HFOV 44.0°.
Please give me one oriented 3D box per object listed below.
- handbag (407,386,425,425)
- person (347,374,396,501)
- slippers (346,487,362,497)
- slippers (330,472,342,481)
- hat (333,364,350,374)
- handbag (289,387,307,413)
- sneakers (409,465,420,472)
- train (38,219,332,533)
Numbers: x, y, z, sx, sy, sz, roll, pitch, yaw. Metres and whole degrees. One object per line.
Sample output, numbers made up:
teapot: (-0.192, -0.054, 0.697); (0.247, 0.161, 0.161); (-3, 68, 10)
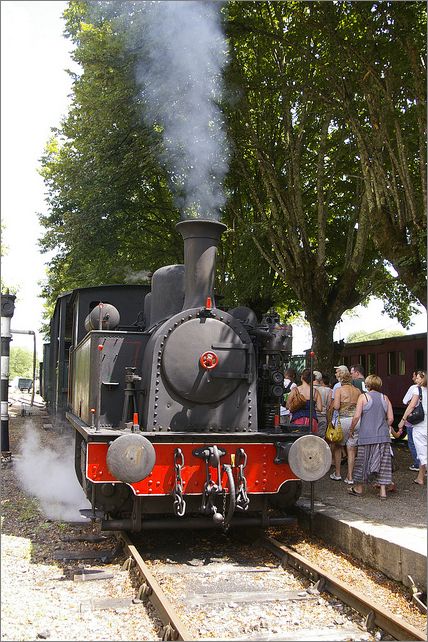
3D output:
handbag: (2.738, 1.149, 7.152); (0.226, 0.518, 0.149); (6, -10, -28)
person: (1.822, 1.436, 6.151); (0.494, 1.197, 0.367); (-2, -9, 17)
slippers: (1.651, 2.016, 6.214); (0.125, 0.075, 0.236); (0, 1, -7)
slippers: (1.711, 2.206, 7.458); (0.059, 0.080, 0.169); (1, -9, -12)
hat: (1.829, 0.686, 7.545); (0.267, 0.142, 0.413); (3, -4, 2)
handbag: (1.084, 1.029, 6.823); (0.082, 0.239, 0.237); (1, -33, -30)
sneakers: (3.199, 2.361, 8.460); (0.064, 0.083, 0.172); (2, -3, -1)
train: (-0.656, 0.669, 6.297); (1.877, 2.504, 4.587); (2, -7, -13)
